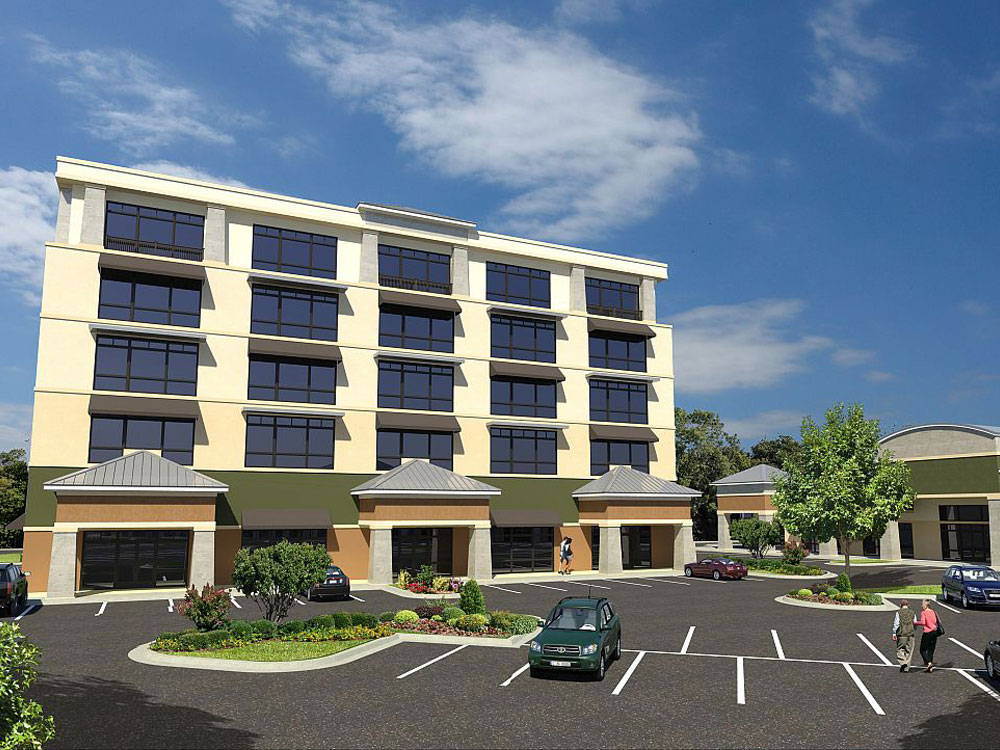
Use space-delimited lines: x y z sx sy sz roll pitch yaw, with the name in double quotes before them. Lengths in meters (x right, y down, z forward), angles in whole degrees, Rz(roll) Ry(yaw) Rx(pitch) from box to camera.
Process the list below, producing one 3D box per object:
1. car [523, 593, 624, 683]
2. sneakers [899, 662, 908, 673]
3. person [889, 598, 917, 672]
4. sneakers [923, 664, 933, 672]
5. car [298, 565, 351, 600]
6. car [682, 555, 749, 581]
"car" 2.481 8.138 25.011 2.410 1.893 4.510 -2 -4 17
"sneakers" 12.659 9.127 24.508 0.190 0.196 0.233 0 -16 -2
"person" 13.000 8.322 25.135 0.728 1.948 1.566 -7 -12 25
"sneakers" 13.462 9.153 24.641 0.219 0.079 0.302 -2 -3 4
"car" -8.261 10.171 38.483 1.775 1.712 1.794 2 -12 -21
"car" 13.866 12.605 50.841 1.949 1.189 3.633 5 -13 -32
